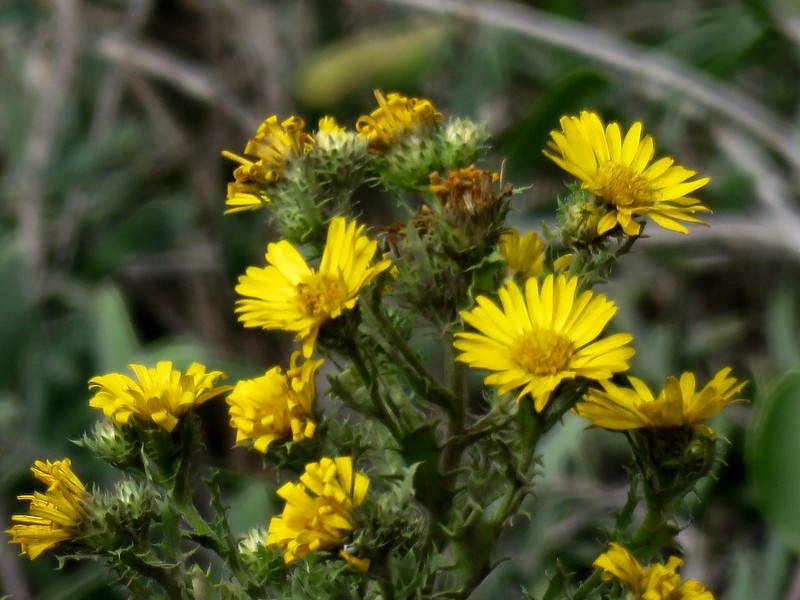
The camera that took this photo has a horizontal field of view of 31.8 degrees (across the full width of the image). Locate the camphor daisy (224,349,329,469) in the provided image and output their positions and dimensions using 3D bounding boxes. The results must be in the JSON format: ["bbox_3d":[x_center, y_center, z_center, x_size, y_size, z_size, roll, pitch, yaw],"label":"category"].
[{"bbox_3d":[-0.338,0.315,3.874,0.271,0.133,0.305,-22,73,17],"label":"camphor daisy"}]

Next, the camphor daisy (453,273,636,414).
[{"bbox_3d":[0.381,0.105,3.815,0.471,0.141,0.316,-8,58,-9],"label":"camphor daisy"}]

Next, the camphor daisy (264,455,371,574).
[{"bbox_3d":[-0.208,0.547,3.762,0.280,0.136,0.282,-44,38,11],"label":"camphor daisy"}]

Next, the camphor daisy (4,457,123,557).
[{"bbox_3d":[-0.964,0.598,4.018,0.147,0.288,0.269,14,12,-9],"label":"camphor daisy"}]

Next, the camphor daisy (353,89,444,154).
[{"bbox_3d":[-0.008,-0.557,4.075,0.262,0.134,0.169,-20,59,-16],"label":"camphor daisy"}]

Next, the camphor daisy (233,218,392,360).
[{"bbox_3d":[-0.250,-0.056,3.802,0.413,0.218,0.308,-24,61,-18],"label":"camphor daisy"}]

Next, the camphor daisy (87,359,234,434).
[{"bbox_3d":[-0.676,0.252,3.975,0.247,0.103,0.260,5,13,34],"label":"camphor daisy"}]

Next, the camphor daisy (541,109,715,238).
[{"bbox_3d":[0.608,-0.357,4.037,0.389,0.384,0.167,19,62,-18],"label":"camphor daisy"}]

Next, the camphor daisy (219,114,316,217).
[{"bbox_3d":[-0.388,-0.386,4.027,0.142,0.156,0.294,37,62,21],"label":"camphor daisy"}]
